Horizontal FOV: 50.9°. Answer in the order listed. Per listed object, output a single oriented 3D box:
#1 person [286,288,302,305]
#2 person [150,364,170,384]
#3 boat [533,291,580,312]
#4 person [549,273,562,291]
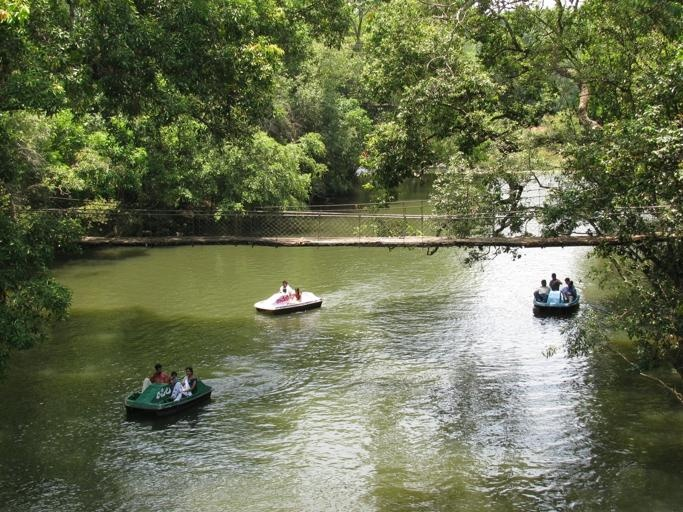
[{"bbox_3d":[-2.332,2.005,36.343,0.573,0.713,0.287,4,-16,-6],"label":"person"},{"bbox_3d":[-6.916,4.472,27.409,0.568,0.724,0.390,-4,-19,-3],"label":"person"},{"bbox_3d":[10.700,2.227,35.704,2.196,0.809,1.179,2,14,6],"label":"boat"},{"bbox_3d":[11.355,1.370,38.156,0.549,1.319,0.754,2,37,21],"label":"person"}]
